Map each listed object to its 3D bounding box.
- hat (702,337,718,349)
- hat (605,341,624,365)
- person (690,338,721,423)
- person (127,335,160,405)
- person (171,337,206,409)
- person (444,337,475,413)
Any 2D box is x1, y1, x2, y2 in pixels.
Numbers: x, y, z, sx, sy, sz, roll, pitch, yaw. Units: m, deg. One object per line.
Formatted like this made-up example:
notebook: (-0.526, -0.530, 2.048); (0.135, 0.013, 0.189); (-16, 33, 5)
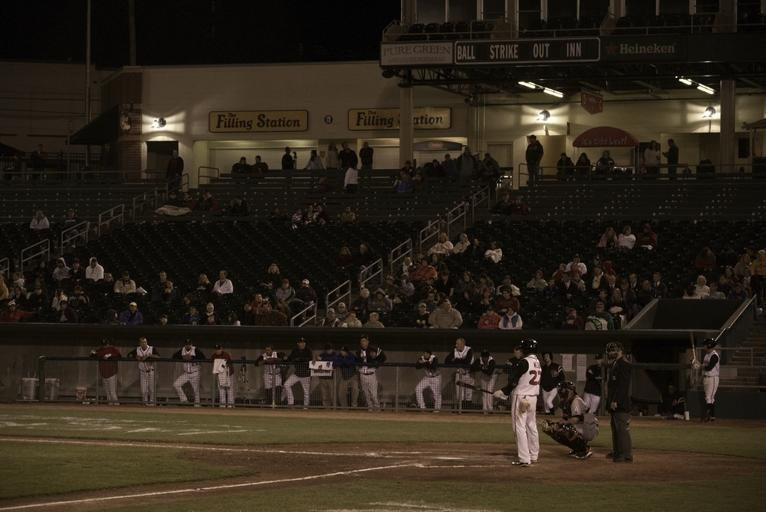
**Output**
hat: (10.913, 2.917, 60.476); (0.369, 0.357, 0.335); (19, -9, 5)
hat: (7.008, 2.927, 54.695); (0.489, 0.670, 1.039); (-1, -4, 6)
person: (10.835, 4.174, 60.514); (0.782, 2.712, 0.799); (0, 2, 35)
person: (-8.357, 4.082, 63.163); (0.857, 2.352, 0.789); (0, -4, -13)
person: (-6.792, 4.068, 63.110); (0.895, 2.490, 0.688); (1, 5, -4)
person: (2.639, 4.096, 61.508); (0.889, 2.596, 0.844); (-3, -5, -3)
